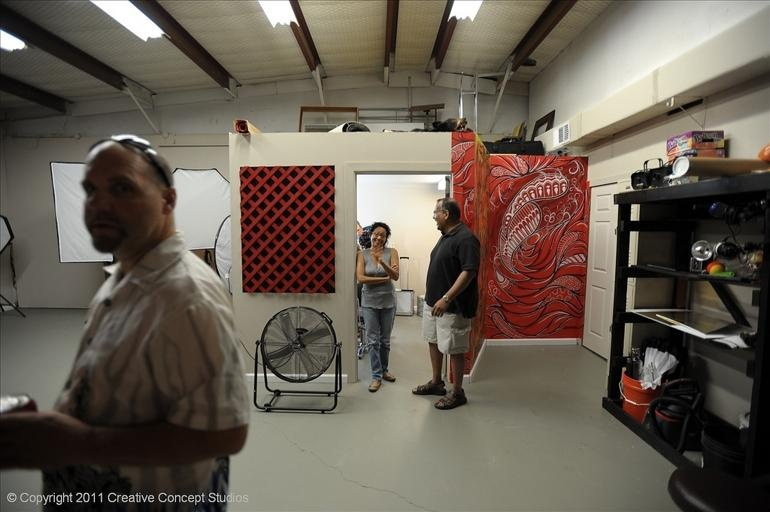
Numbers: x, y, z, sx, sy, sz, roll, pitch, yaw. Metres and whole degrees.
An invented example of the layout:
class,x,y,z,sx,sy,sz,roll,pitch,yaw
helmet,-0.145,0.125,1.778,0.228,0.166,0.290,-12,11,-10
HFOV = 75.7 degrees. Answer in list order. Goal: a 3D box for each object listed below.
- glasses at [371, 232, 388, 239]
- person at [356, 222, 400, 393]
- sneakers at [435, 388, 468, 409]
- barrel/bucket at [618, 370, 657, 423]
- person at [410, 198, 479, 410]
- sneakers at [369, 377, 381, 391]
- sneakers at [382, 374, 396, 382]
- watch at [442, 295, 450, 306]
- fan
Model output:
class,x,y,z,sx,sy,sz,roll,pitch,yaw
glasses,-0.024,-0.208,5.068,0.135,0.071,0.265,3,5,45
person,-0.086,0.489,5.091,0.435,1.666,0.507,2,4,29
sneakers,0.621,1.341,4.658,0.356,0.145,0.129,3,-7,-29
barrel/bucket,2.255,1.239,4.359,0.280,0.320,0.289,0,1,0
person,0.573,0.432,4.630,0.526,1.952,0.640,-1,4,-7
sneakers,-0.096,1.290,4.977,0.137,0.086,0.218,0,4,0
sneakers,0.055,1.267,5.131,0.058,0.061,0.142,1,-5,-22
watch,0.537,0.386,4.315,0.075,0.058,0.074,-17,-23,-8
fan,-0.826,0.930,4.687,0.788,0.959,0.535,0,2,-2
